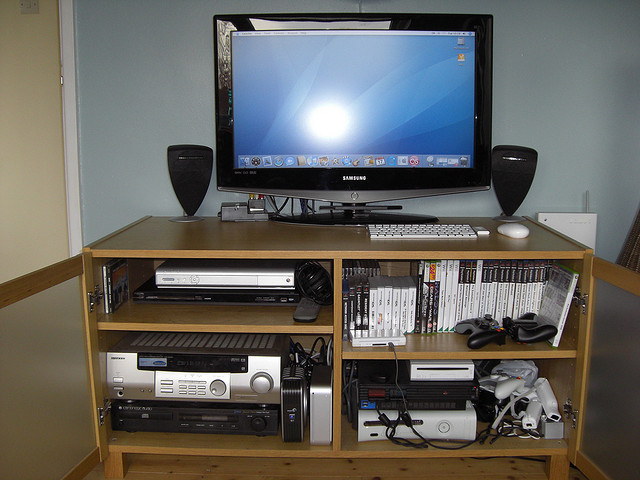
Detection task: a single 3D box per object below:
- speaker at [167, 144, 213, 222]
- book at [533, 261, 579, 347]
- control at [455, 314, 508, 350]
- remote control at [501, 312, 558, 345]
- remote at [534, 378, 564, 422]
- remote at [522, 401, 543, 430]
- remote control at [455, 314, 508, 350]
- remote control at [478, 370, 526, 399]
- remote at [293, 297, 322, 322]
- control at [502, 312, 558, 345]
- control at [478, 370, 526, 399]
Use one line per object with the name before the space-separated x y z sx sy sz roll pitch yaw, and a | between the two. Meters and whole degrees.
speaker | -0.535 -0.240 2.277 0.181 0.318 0.187 -1 17 -10
book | 0.838 0.228 1.924 0.030 0.291 0.224 16 18 -5
control | 0.574 0.323 1.949 0.149 0.076 0.192 -4 11 -4
remote control | 0.746 0.316 1.958 0.152 0.076 0.187 -8 11 -11
remote | 0.831 0.580 1.985 0.065 0.144 0.081 10 -16 -17
remote | 0.765 0.630 1.958 0.079 0.101 0.045 17 -19 -37
remote control | 0.573 0.324 1.943 0.149 0.075 0.189 -2 12 5
remote control | 0.672 0.528 2.006 0.102 0.043 0.100 -10 11 -33
remote | -0.049 0.249 1.951 0.088 0.103 0.126 4 -15 3
control | 0.745 0.314 1.964 0.168 0.077 0.184 0 11 0
control | 0.684 0.541 2.045 0.172 0.069 0.168 -5 4 -29
